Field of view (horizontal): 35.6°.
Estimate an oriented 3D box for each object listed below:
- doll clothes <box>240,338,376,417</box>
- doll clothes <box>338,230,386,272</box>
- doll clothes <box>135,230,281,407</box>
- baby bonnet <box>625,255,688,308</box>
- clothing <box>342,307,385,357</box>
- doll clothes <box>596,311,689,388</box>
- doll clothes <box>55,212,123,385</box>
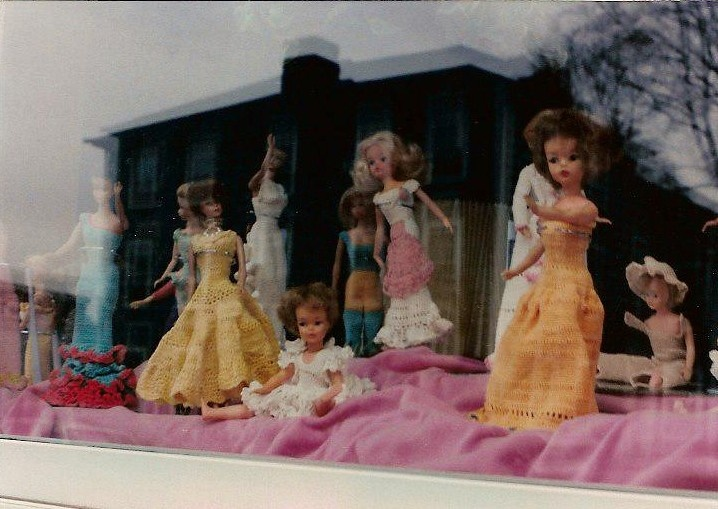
[{"bbox_3d":[-0.189,0.741,6.925,0.507,0.364,0.217,-10,-36,-12],"label":"doll clothes"},{"bbox_3d":[0.029,-0.010,7.084,0.309,0.290,0.152,1,-1,-6],"label":"doll clothes"},{"bbox_3d":[-0.663,0.452,7.589,1.279,1.264,0.988,0,-7,4],"label":"doll clothes"},{"bbox_3d":[1.803,0.107,6.746,0.289,0.109,0.235,18,-4,2],"label":"baby bonnet"},{"bbox_3d":[0.033,0.479,6.995,0.300,0.314,0.266,3,-2,-7],"label":"clothing"},{"bbox_3d":[1.695,0.579,6.724,0.543,0.447,0.069,0,-3,-4],"label":"doll clothes"},{"bbox_3d":[-1.691,0.275,7.435,0.433,1.140,0.290,-1,-9,26],"label":"doll clothes"}]
